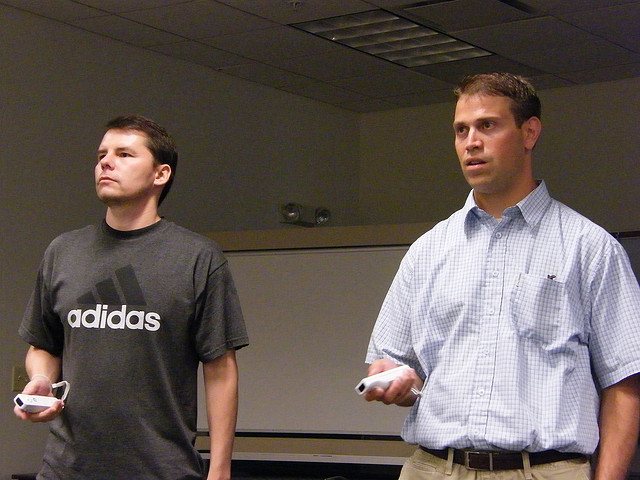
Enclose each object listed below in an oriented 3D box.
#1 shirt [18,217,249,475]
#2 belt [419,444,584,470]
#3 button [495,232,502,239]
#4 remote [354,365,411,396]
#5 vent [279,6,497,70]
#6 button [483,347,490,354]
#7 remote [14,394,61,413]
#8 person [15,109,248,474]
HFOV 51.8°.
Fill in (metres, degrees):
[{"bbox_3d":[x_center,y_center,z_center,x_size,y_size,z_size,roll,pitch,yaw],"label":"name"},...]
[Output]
[{"bbox_3d":[-0.594,0.338,2.077,0.721,0.803,0.350,-2,6,-7],"label":"shirt"},{"bbox_3d":[0.451,0.543,1.673,0.390,0.065,0.075,0,5,19],"label":"belt"},{"bbox_3d":[0.483,-0.012,1.792,0.019,0.016,0.004,4,-7,8],"label":"button"},{"bbox_3d":[0.176,0.368,1.783,0.047,0.053,0.214,36,26,33],"label":"remote"},{"bbox_3d":[0.568,-1.580,5.212,1.543,0.198,0.774,-4,5,-43],"label":"vent"},{"bbox_3d":[0.426,0.284,1.697,0.020,0.017,0.004,-1,-2,12],"label":"button"},{"bbox_3d":[-0.789,0.453,1.855,0.052,0.026,0.098,16,5,38],"label":"remote"},{"bbox_3d":[-0.627,0.168,2.120,0.688,1.153,0.511,-4,6,-24],"label":"person"}]
